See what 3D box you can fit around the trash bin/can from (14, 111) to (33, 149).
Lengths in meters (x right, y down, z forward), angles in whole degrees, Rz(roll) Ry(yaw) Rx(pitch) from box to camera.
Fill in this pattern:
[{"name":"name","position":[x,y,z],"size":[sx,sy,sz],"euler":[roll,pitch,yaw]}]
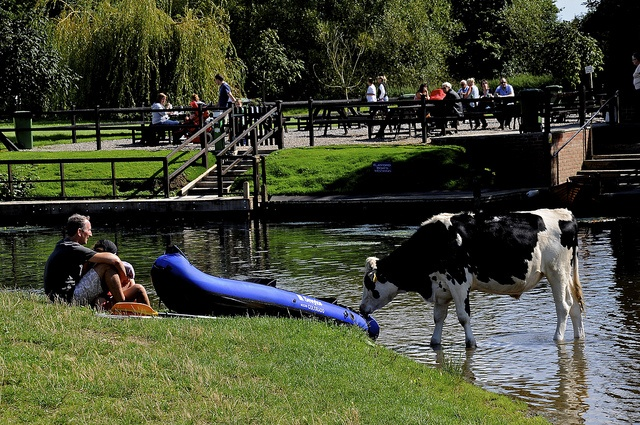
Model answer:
[{"name":"trash bin/can","position":[-15.421,-4.275,78.739],"size":[0.904,1.985,3.995],"euler":[-1,3,-11]}]

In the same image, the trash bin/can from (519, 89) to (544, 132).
[{"name":"trash bin/can","position":[9.836,-4.689,70.206],"size":[1.042,2.000,0.874],"euler":[0,3,7]}]

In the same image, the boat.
[{"name":"boat","position":[-1.805,3.672,56.775],"size":[9.695,3.161,4.466],"euler":[15,-18,-25]}]
